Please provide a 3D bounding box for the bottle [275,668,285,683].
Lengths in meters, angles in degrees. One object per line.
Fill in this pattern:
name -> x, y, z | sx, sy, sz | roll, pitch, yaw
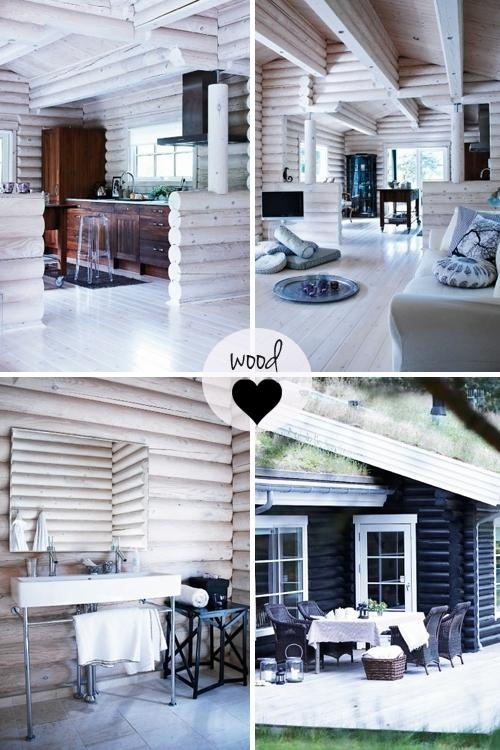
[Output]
bottle -> 0.131, 1.311, 2.648 | 0.038, 0.054, 0.048 | 0, 1, 2

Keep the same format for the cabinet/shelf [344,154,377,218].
cabinet/shelf -> 2.895, -4.977, 16.002 | 0.795, 1.617, 0.405 | 1, 1, 9

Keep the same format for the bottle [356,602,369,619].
bottle -> 0.514, 1.088, 2.791 | 0.038, 0.044, 0.040 | -3, -4, 19

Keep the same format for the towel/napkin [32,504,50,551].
towel/napkin -> -1.043, 0.776, 3.034 | 0.079, 0.194, 0.070 | 0, 1, -29

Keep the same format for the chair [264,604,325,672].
chair -> 0.189, 1.127, 2.694 | 0.212, 0.322, 0.240 | -1, -3, 10

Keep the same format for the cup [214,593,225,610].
cup -> -0.163, 1.271, 3.431 | 0.045, 0.076, 0.082 | 1, 2, 21

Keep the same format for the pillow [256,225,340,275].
pillow -> 0.462, -1.268, 6.367 | 0.947, 0.531, 0.721 | 0, 2, -13

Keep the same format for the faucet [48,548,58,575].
faucet -> -0.986, 0.939, 3.055 | 0.045, 0.162, 0.135 | 0, 1, -18

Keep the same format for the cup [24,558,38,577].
cup -> -1.058, 0.935, 2.956 | 0.065, 0.111, 0.069 | 0, -4, 0

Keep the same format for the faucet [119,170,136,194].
faucet -> -1.858, -2.875, 9.071 | 0.168, 0.399, 0.360 | -1, 2, -36

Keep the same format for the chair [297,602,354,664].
chair -> 0.356, 1.160, 2.842 | 0.251, 0.386, 0.204 | -5, -9, 28

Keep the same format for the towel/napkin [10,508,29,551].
towel/napkin -> -1.127, 0.757, 2.962 | 0.083, 0.191, 0.064 | -1, 1, -36
